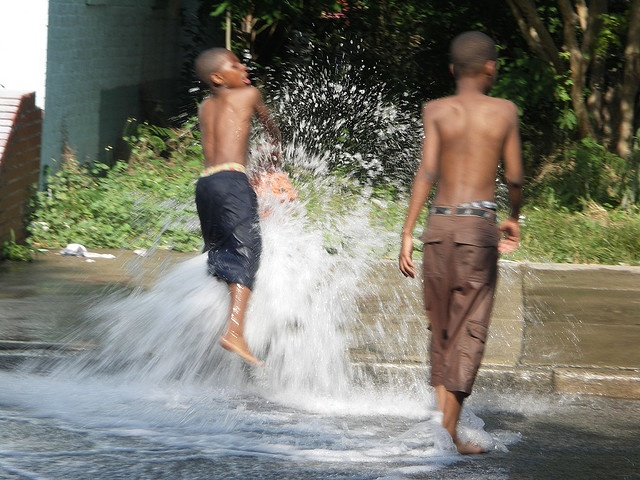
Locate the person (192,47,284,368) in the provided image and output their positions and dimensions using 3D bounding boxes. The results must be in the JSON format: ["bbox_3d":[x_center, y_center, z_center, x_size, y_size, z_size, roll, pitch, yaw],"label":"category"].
[{"bbox_3d":[-0.549,-0.293,4.113,0.508,1.860,0.961,1,14,-10],"label":"person"}]

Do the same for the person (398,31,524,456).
[{"bbox_3d":[0.726,-0.023,3.393,0.585,2.147,0.787,7,15,15],"label":"person"}]
